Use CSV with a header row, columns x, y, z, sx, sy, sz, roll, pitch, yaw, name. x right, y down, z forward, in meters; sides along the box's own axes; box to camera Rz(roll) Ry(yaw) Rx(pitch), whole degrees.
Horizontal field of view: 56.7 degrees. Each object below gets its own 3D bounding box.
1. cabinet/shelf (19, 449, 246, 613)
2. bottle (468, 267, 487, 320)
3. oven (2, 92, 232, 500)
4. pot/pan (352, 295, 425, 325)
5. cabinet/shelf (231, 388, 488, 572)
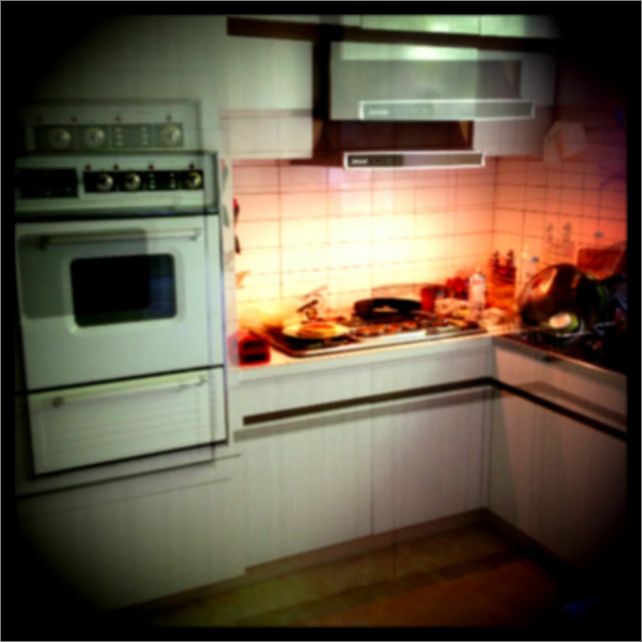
x,y,z,sx,sy,sz,roll,pitch,yaw,name
-0.408,0.505,1.374,0.444,0.307,0.227,-1,-9,-42,cabinet/shelf
0.454,-0.079,1.728,0.053,0.130,0.156,-1,7,17,bottle
-0.472,-0.069,1.317,0.447,0.779,0.391,-10,20,-40,oven
0.191,-0.032,1.736,0.191,0.058,0.170,-1,7,19,pot/pan
0.075,0.340,1.652,0.685,0.436,0.378,-5,17,-17,cabinet/shelf
